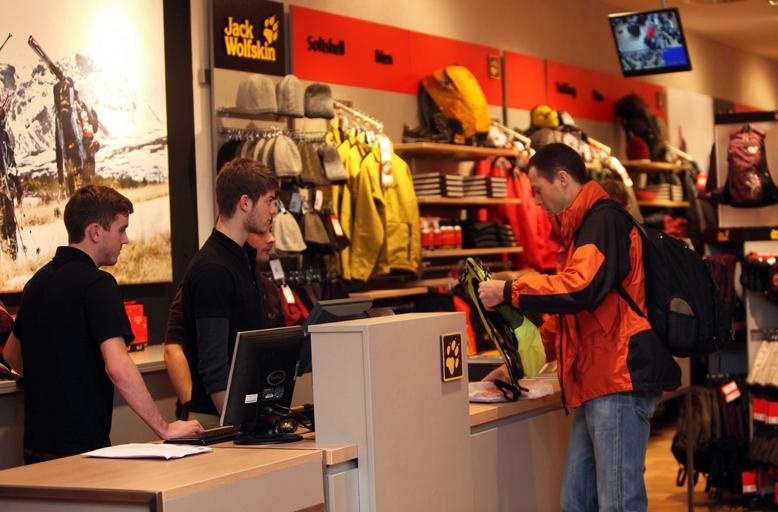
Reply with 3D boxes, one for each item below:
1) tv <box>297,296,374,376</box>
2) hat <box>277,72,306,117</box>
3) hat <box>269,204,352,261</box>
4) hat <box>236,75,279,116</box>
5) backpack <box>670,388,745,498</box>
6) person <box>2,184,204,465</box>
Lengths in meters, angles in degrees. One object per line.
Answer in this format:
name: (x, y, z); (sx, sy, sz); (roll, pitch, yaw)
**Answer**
tv: (-0.296, 0.386, 3.111); (0.268, 0.343, 0.606); (-2, 3, 15)
hat: (-0.827, -1.316, 5.294); (0.207, 0.326, 0.133); (-3, 3, -11)
hat: (-0.682, -0.181, 5.200); (0.662, 0.450, 0.364); (4, -43, -24)
hat: (-1.113, -1.322, 5.298); (0.374, 0.307, 0.208); (-1, 3, 27)
backpack: (2.809, 1.589, 5.460); (0.421, 0.935, 0.313); (-1, 3, 25)
person: (-1.526, 0.327, 3.183); (0.991, 0.923, 0.446); (-2, 3, 10)
